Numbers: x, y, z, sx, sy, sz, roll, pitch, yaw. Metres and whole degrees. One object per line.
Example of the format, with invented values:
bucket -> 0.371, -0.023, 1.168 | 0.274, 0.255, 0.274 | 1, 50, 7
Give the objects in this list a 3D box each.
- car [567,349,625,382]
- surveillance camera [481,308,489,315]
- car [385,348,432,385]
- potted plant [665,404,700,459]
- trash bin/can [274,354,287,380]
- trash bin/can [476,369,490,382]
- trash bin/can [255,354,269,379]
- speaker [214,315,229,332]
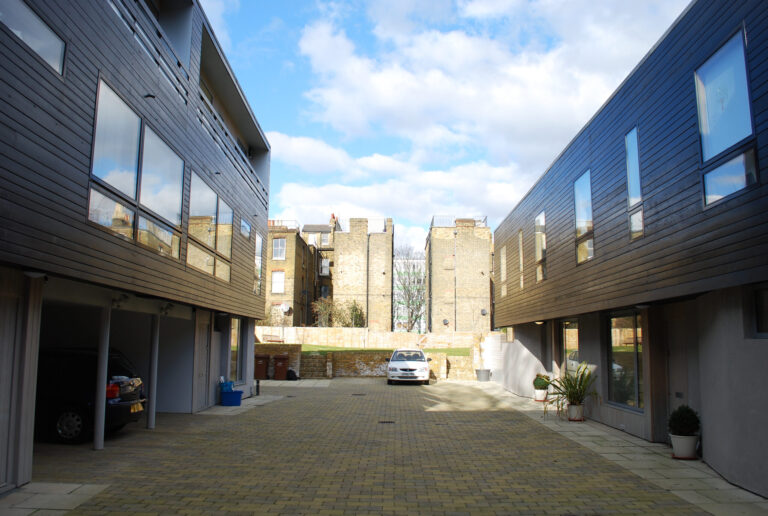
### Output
car -> 5.898, 3.026, 14.451 | 0.923, 0.853, 1.653 | 4, -14, -31
surveillance camera -> 9.003, 4.933, 47.036 | 0.532, 0.537, 0.131 | -2, -6, -4
car -> 1.192, 5.570, 26.056 | 1.939, 1.522, 1.994 | 0, -7, 6
potted plant -> 6.075, 3.613, 10.723 | 0.655, 0.977, 0.682 | 1, -14, -4
trash bin/can -> -5.510, 5.875, 27.773 | 0.718, 1.297, 0.396 | 2, -6, -6
trash bin/can -> 5.238, 6.315, 27.743 | 0.601, 0.473, 0.628 | -4, -11, 19
trash bin/can -> -6.490, 5.874, 27.747 | 0.767, 1.269, 0.632 | 2, -7, -14
speaker -> -5.511, 2.266, 17.715 | 0.333, 0.594, 0.682 | 1, -7, 1
